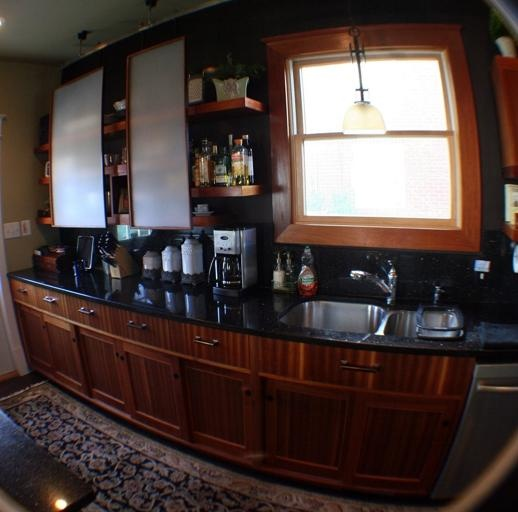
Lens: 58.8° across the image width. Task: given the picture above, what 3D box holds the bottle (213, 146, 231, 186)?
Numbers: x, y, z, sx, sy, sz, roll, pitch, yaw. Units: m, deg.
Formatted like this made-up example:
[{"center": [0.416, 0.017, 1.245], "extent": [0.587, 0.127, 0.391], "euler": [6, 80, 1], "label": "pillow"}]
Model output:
[{"center": [-0.223, -0.533, 2.728], "extent": [0.107, 0.209, 0.281], "euler": [-4, 14, -5], "label": "bottle"}]

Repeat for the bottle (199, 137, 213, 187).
[{"center": [-0.312, -0.544, 2.692], "extent": [0.090, 0.259, 0.075], "euler": [2, 15, 18], "label": "bottle"}]

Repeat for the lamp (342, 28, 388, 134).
[{"center": [0.525, -0.852, 2.247], "extent": [0.222, 0.513, 0.576], "euler": [1, 15, 13], "label": "lamp"}]

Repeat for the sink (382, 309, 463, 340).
[{"center": [0.794, 0.328, 2.261], "extent": [0.270, 0.097, 0.209], "euler": [-4, 14, 12], "label": "sink"}]

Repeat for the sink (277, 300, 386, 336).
[{"center": [0.403, 0.329, 2.469], "extent": [0.336, 0.113, 0.252], "euler": [3, 9, 22], "label": "sink"}]

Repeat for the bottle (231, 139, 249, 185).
[{"center": [-0.105, -0.525, 2.587], "extent": [0.102, 0.246, 0.070], "euler": [-3, 15, -3], "label": "bottle"}]
